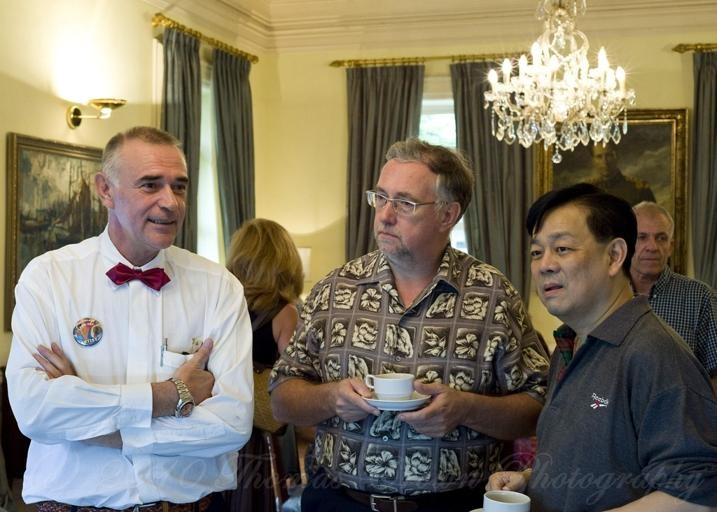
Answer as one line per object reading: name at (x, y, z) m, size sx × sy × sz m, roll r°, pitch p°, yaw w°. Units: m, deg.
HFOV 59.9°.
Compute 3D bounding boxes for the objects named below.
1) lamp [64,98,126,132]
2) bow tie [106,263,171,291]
lamp at (-2.080, -1.150, 4.992) m, size 0.385 × 0.204 × 0.278 m, roll 3°, pitch -2°, yaw 15°
bow tie at (-0.912, 0.085, 2.608) m, size 0.210 × 0.119 × 0.132 m, roll 6°, pitch 2°, yaw -34°
